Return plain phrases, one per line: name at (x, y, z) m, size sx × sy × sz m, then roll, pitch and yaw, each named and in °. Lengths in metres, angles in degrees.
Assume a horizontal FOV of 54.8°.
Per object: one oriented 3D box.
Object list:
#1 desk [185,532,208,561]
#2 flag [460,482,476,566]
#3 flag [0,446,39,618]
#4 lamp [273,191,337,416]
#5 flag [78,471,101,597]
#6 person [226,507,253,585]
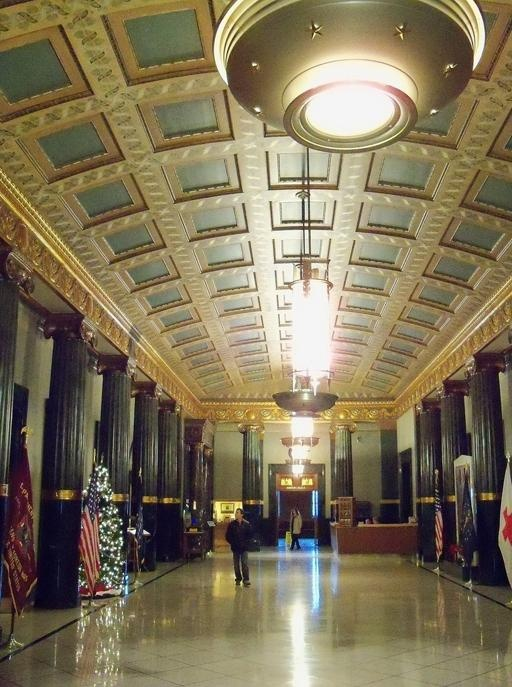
desk at (-2.207, 7.157, 17.669) m, size 0.687 × 0.986 × 1.172 m, roll 0°, pitch -16°, yaw 2°
flag at (5.027, 4.275, 11.841) m, size 0.382 × 2.066 × 0.815 m, roll -5°, pitch -16°, yaw 21°
flag at (-2.803, 2.201, 5.970) m, size 0.387 × 1.891 × 0.427 m, roll 9°, pitch -17°, yaw -30°
lamp at (0.609, -0.620, 5.776) m, size 0.697 × 2.897 × 0.711 m, roll 4°, pitch -16°, yaw -8°
flag at (-2.955, 3.360, 8.748) m, size 0.356 × 2.049 × 0.526 m, roll 4°, pitch -15°, yaw -12°
person at (-0.421, 4.657, 11.444) m, size 0.546 × 1.654 × 1.232 m, roll 1°, pitch -15°, yaw -2°
